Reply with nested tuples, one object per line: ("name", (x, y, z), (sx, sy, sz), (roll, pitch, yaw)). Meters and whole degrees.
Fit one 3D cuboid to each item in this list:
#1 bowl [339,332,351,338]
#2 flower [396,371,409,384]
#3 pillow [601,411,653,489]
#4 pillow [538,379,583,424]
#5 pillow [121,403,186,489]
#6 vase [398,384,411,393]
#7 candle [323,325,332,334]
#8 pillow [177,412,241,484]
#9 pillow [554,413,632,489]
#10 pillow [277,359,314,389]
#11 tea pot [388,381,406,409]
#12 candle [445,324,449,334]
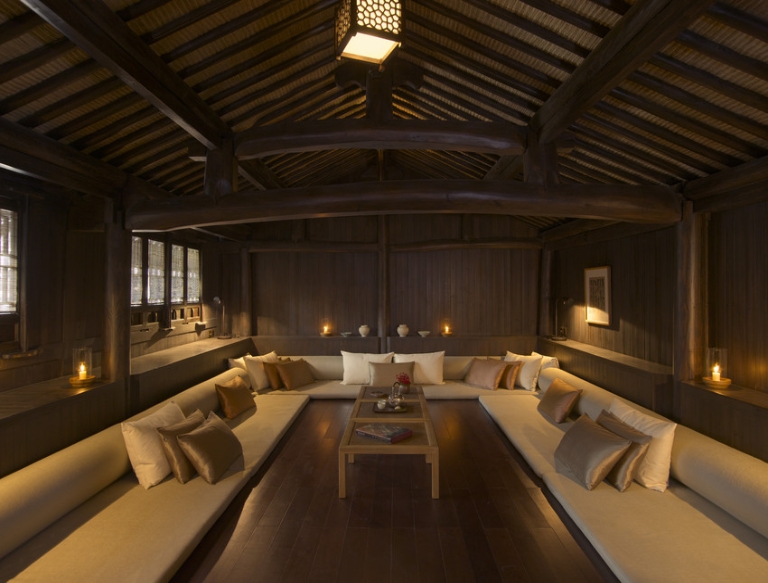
("bowl", (-0.606, 0.683, 8.014), (0.191, 0.045, 0.311), (-3, 11, -3))
("flower", (0.219, 0.978, 5.840), (0.131, 0.138, 0.135), (4, -4, -17))
("pillow", (1.956, 1.325, 4.268), (0.123, 0.421, 0.425), (26, 7, -12))
("pillow", (1.963, 1.219, 5.724), (0.296, 0.407, 0.612), (-4, -6, -9))
("pillow", (-1.997, 1.305, 4.352), (0.155, 0.515, 0.518), (-27, -2, 23))
("vase", (0.235, 1.090, 5.870), (0.139, 0.113, 0.147), (-1, -6, 9))
("candle", (-0.900, 0.610, 8.108), (0.155, 0.166, 0.082), (0, -4, -5))
("pillow", (-1.522, 1.363, 4.510), (0.318, 0.478, 0.670), (-7, -3, 12))
("pillow", (1.774, 1.399, 4.384), (0.144, 0.468, 0.489), (34, -3, -15))
("pillow", (-1.226, 1.116, 7.025), (0.116, 0.372, 0.401), (-30, -20, 23))
("tea pot", (0.125, 1.107, 5.467), (0.184, 0.371, 0.209), (3, -3, -10))
("candle", (0.995, 0.594, 8.090), (0.087, 0.162, 0.093), (-3, -6, 25))
